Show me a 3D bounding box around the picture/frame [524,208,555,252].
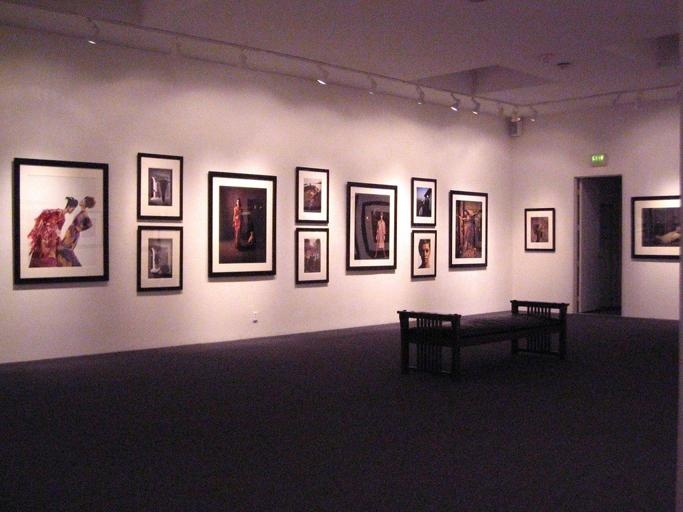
[{"bbox_3d":[5.711,-0.793,14.850,1.066,1.701,0.153,1,2,27],"label":"picture/frame"}]

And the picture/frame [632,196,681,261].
[{"bbox_3d":[7.913,-0.720,12.936,1.398,1.491,0.106,3,5,37],"label":"picture/frame"}]
